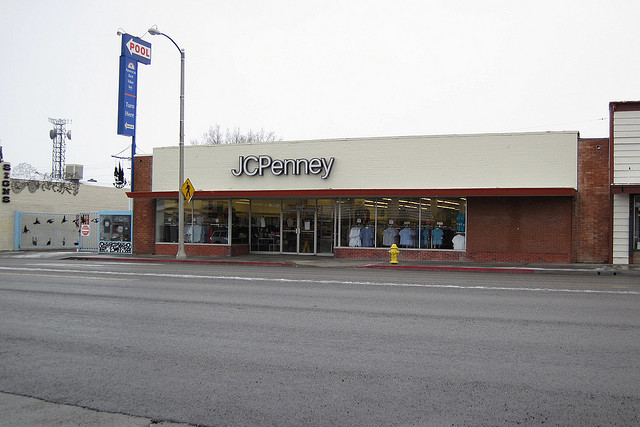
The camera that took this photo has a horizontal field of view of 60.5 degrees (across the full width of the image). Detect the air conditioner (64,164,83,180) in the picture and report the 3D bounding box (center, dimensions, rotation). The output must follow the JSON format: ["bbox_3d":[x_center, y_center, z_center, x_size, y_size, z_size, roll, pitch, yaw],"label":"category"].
[{"bbox_3d":[-21.780,-3.611,48.303,1.310,1.261,1.820,-2,4,-28],"label":"air conditioner"}]

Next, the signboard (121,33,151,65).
[{"bbox_3d":[-10.784,-9.623,32.224,0.296,1.317,1.982,1,1,28],"label":"signboard"}]
